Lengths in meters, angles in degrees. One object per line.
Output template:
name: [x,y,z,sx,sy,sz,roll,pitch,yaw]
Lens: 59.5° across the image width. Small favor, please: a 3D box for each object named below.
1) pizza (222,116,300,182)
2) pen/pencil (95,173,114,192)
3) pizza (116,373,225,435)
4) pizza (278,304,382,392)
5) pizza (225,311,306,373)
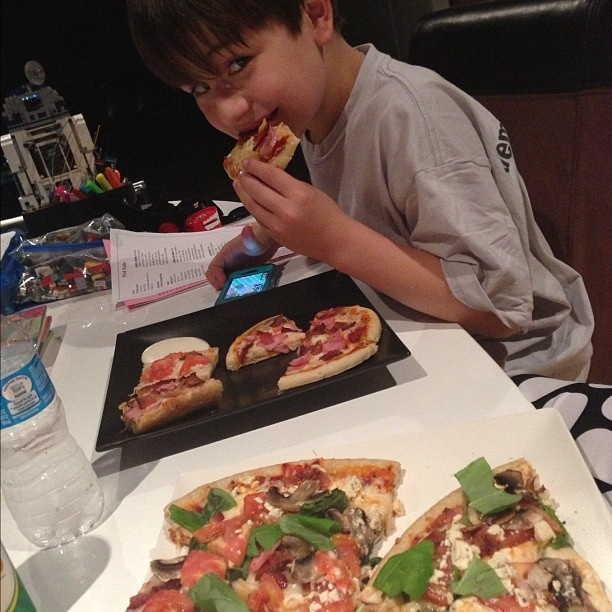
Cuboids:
pizza: [-0.092,-0.328,1.191,0.040,0.139,0.145,8,17,-48]
pen/pencil: [-0.712,-0.435,1.891,0.029,0.095,0.023,-33,80,-8]
pizza: [-0.229,0.157,0.892,0.112,0.034,0.105,-21,3,-21]
pizza: [0.057,0.094,0.953,0.136,0.039,0.218,-7,23,29]
pizza: [-0.073,0.064,1.019,0.138,0.035,0.079,-24,42,-13]
